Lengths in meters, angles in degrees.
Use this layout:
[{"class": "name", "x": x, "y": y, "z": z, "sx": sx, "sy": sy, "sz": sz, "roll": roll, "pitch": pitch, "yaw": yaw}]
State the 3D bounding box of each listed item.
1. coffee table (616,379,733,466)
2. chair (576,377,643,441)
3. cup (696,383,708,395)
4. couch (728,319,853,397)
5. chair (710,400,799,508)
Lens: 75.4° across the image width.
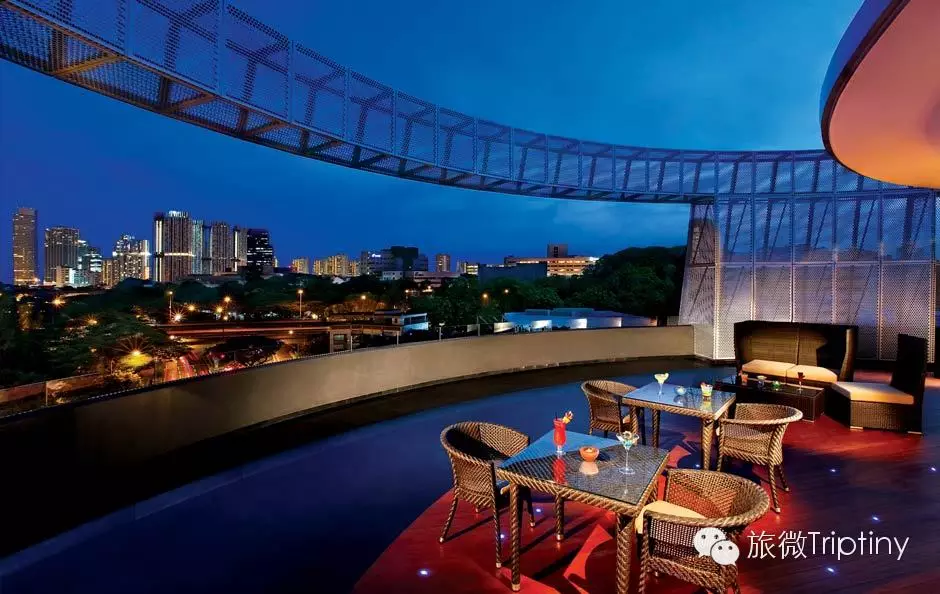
[{"class": "coffee table", "x": 3.483, "y": 1.970, "z": 10.387, "sx": 1.620, "sy": 1.346, "sz": 1.680, "roll": 1, "pitch": 1, "yaw": 38}, {"class": "chair", "x": 2.485, "y": 1.919, "z": 10.796, "sx": 1.067, "sy": 1.139, "sz": 1.277, "roll": -6, "pitch": -5, "yaw": 35}, {"class": "cup", "x": 3.800, "y": 1.497, "z": 9.978, "sx": 0.152, "sy": 0.230, "sz": 0.303, "roll": 2, "pitch": 3, "yaw": 19}, {"class": "couch", "x": 6.693, "y": 1.112, "z": 12.719, "sx": 2.784, "sy": 1.513, "sz": 1.425, "roll": -2, "pitch": -6, "yaw": 35}, {"class": "chair", "x": 4.334, "y": 2.562, "z": 9.875, "sx": 1.603, "sy": 1.554, "sz": 1.762, "roll": 1, "pitch": 1, "yaw": 36}]
